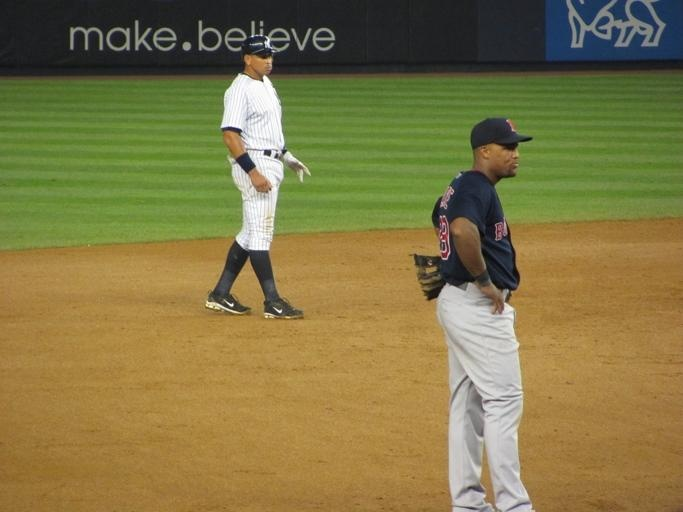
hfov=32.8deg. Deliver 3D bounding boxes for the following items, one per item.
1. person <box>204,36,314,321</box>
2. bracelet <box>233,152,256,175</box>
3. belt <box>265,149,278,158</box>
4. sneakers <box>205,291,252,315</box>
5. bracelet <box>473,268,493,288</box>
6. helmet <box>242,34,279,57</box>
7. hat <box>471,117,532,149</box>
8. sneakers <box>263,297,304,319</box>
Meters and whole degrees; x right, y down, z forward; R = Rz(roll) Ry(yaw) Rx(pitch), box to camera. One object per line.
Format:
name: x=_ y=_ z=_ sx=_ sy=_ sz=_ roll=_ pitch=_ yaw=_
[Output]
person: x=-0.874 y=-0.581 z=11.484 sx=0.904 sy=2.400 sz=0.485 roll=1 pitch=7 yaw=-7
bracelet: x=-0.935 y=-0.872 z=11.251 sx=0.211 sy=0.146 sz=0.215 roll=40 pitch=-19 yaw=-11
belt: x=-0.691 y=-0.992 z=11.424 sx=0.082 sy=0.033 sz=0.085 roll=10 pitch=-4 yaw=25
sneakers: x=-1.165 y=0.497 z=11.721 sx=0.499 sy=0.231 sz=0.191 roll=7 pitch=-2 yaw=-7
bracelet: x=1.080 y=0.192 z=8.958 sx=0.123 sy=0.126 sz=0.120 roll=-26 pitch=25 yaw=31
helmet: x=-0.815 y=-2.027 z=11.365 sx=0.293 sy=0.138 sz=0.213 roll=-2 pitch=21 yaw=12
hat: x=1.245 y=-0.959 z=9.125 sx=0.520 sy=0.255 sz=0.324 roll=-8 pitch=-1 yaw=30
sneakers: x=-0.598 y=0.542 z=11.548 sx=0.425 sy=0.196 sz=0.167 roll=1 pitch=3 yaw=5
